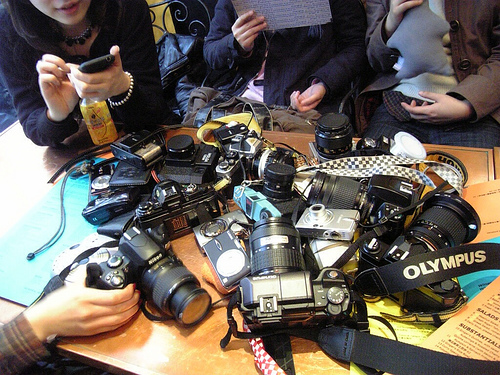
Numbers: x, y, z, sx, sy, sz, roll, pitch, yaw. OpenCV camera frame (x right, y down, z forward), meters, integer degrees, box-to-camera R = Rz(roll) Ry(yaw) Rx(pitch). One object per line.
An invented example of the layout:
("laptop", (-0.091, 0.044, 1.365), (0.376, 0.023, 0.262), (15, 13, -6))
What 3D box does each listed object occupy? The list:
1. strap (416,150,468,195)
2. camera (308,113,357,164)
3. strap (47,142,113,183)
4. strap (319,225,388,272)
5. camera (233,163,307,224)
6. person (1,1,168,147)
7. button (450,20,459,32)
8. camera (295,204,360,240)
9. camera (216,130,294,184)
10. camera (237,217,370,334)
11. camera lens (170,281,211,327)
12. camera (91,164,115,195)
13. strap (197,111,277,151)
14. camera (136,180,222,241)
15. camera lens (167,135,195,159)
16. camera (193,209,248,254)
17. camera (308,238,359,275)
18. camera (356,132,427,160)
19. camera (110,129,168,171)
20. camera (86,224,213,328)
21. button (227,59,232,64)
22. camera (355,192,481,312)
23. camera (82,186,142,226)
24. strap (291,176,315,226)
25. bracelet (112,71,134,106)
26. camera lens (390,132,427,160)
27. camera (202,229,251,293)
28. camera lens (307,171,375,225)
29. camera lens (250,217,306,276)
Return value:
("strap", (0.675, -0.058, 1.302), (0.070, 0.143, 0.176), (-44, 26, -13))
("camera", (0.299, -0.179, 1.390), (0.152, 0.183, 0.184), (17, 45, 33))
("strap", (-0.717, -0.090, 1.595), (0.181, 0.180, 0.046), (-35, 87, -6))
("strap", (0.292, 0.177, 1.081), (0.169, 0.024, 0.032), (-39, 37, -6))
("camera", (0.071, 0.023, 1.224), (0.163, 0.160, 0.224), (-23, 41, -30))
("person", (-0.763, -0.514, 1.717), (0.467, 0.751, 0.427), (-14, 56, -13))
("button", (0.947, -0.745, 1.752), (0.039, 0.043, 0.035), (-6, 40, 1))
("camera", (0.223, 0.095, 1.115), (0.155, 0.074, 0.100), (2, 43, 21))
("camera", (0.010, -0.096, 1.314), (0.175, 0.131, 0.208), (23, 48, 23))
("camera", (0.121, 0.247, 1.052), (0.299, 0.159, 0.288), (-3, 50, -1))
("camera lens", (-0.178, 0.315, 1.119), (0.090, 0.100, 0.124), (-31, 33, -24))
("camera", (-0.561, -0.015, 1.487), (0.092, 0.041, 0.142), (-8, 48, -5))
("strap", (-0.029, -0.242, 1.482), (0.215, 0.079, 0.211), (-20, 32, -33))
("camera", (-0.260, 0.037, 1.315), (0.279, 0.187, 0.199), (-20, 37, -13))
("camera lens", (-0.256, -0.150, 1.409), (0.097, 0.050, 0.087), (-12, 41, -6))
("camera", (-0.093, 0.130, 1.220), (0.154, 0.043, 0.112), (-25, 46, -13))
("camera", (0.250, 0.189, 1.103), (0.104, 0.067, 0.107), (-10, 45, -7))
("camera", (0.501, -0.146, 1.296), (0.140, 0.054, 0.145), (19, 39, 20))
("camera", (-0.412, -0.150, 1.449), (0.189, 0.101, 0.144), (20, 49, 34))
("camera", (-0.274, 0.256, 1.138), (0.312, 0.184, 0.289), (22, 43, 18))
("button", (-0.112, -0.700, 2.100), (0.019, 0.019, 0.005), (12, 29, 24))
("camera", (0.519, 0.186, 1.092), (0.321, 0.164, 0.298), (-40, 37, -16))
("camera", (-0.502, 0.045, 1.386), (0.218, 0.080, 0.157), (-18, 34, 3))
("strap", (0.178, 0.031, 1.225), (0.033, 0.027, 0.236), (-23, 24, 34))
("bracelet", (-0.558, -0.436, 1.683), (0.036, 0.140, 0.108), (10, 16, 25))
("camera lens", (0.525, -0.131, 1.291), (0.103, 0.034, 0.105), (8, 40, -38))
("camera", (-0.061, 0.228, 1.139), (0.119, 0.049, 0.183), (-28, 44, -17))
("camera lens", (0.308, 0.018, 1.216), (0.200, 0.117, 0.123), (16, 37, 23))
("camera lens", (0.074, 0.203, 1.078), (0.133, 0.161, 0.181), (1, 39, -1))
